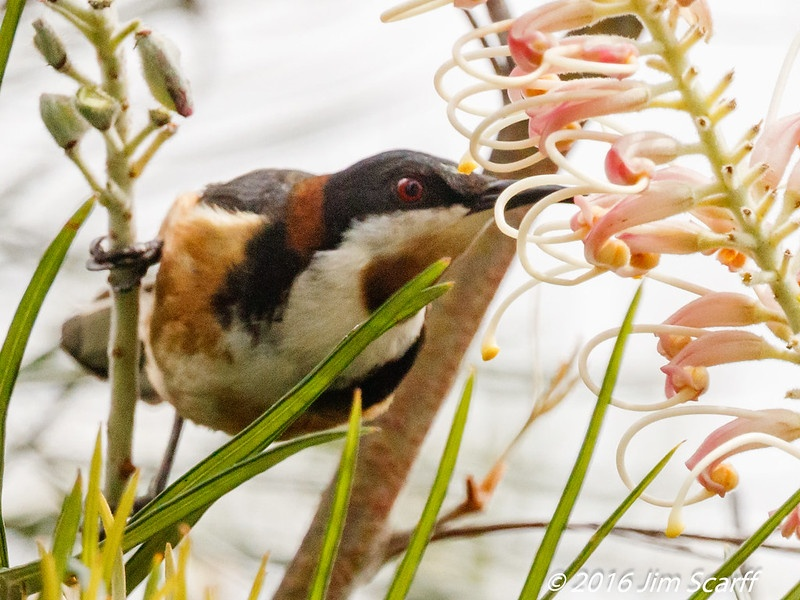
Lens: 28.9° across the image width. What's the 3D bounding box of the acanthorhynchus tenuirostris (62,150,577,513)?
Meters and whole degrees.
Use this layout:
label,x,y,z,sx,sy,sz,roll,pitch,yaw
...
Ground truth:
label,x,y,z,sx,sy,sz,roll,pitch,yaw
acanthorhynchus tenuirostris,-0.107,0.032,1.809,0.565,0.378,0.293,17,-19,20
